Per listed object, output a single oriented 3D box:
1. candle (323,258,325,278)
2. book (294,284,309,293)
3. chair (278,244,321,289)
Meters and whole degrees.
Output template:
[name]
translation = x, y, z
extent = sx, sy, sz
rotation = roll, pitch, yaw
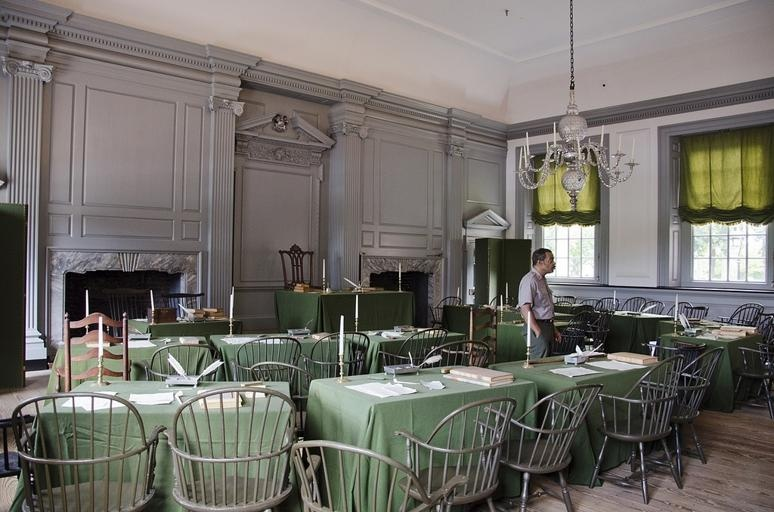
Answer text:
[candle]
translation = -1.186, 0.226, 10.378
extent = 0.062, 0.338, 0.296
rotation = -1, -1, -8
[book]
translation = -1.313, 0.504, 8.452
extent = 0.152, 0.077, 0.156
rotation = -2, 3, -34
[chair]
translation = -1.520, 0.320, 9.746
extent = 0.711, 0.954, 0.667
rotation = -1, 9, -13
